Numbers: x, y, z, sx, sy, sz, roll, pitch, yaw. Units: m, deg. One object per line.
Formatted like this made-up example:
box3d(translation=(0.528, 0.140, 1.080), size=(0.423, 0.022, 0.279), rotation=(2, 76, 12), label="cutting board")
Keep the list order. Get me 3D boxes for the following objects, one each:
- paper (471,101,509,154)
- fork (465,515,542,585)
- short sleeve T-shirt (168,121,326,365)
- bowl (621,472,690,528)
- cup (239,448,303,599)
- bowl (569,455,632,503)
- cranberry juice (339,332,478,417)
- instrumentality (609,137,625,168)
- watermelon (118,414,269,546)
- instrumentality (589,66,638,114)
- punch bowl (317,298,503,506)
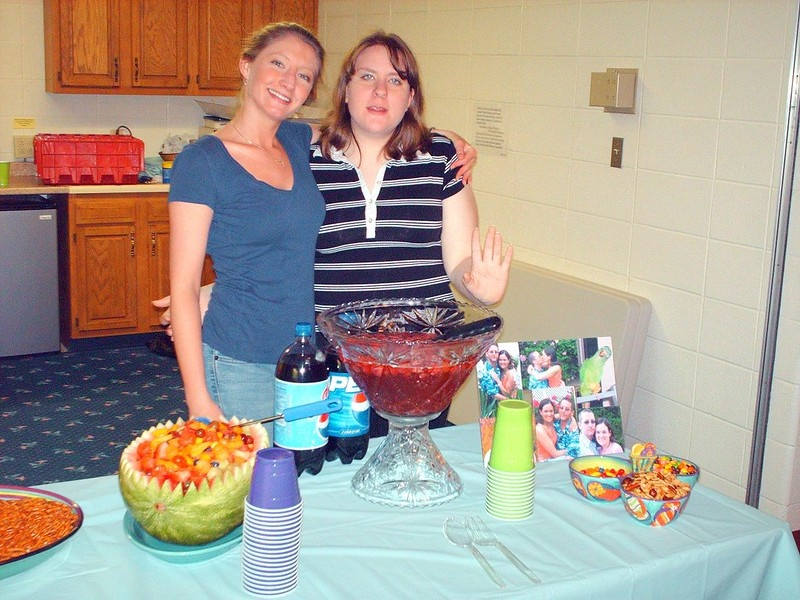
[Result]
box3d(translation=(0.601, -1.045, 3.452), size=(0.075, 0.286, 0.310), rotation=(-1, 9, -36), label="paper")
box3d(translation=(0.183, 0.430, 0.980), size=(0.036, 0.029, 0.200), rotation=(-5, 23, -16), label="fork")
box3d(translation=(-0.378, -0.176, 1.554), size=(0.273, 0.664, 0.505), rotation=(8, 11, 26), label="short sleeve T-shirt")
box3d(translation=(0.517, 0.416, 1.136), size=(0.134, 0.074, 0.132), rotation=(4, 1, 0), label="bowl")
box3d(translation=(-0.200, 0.333, 0.878), size=(0.092, 0.242, 0.132), rotation=(1, 10, -12), label="cup")
box3d(translation=(0.445, 0.414, 1.230), size=(0.125, 0.060, 0.124), rotation=(4, -6, 0), label="bowl")
box3d(translation=(0.013, 0.158, 1.071), size=(0.284, 0.194, 0.124), rotation=(4, 10, 7), label="cranberry juice")
box3d(translation=(1.086, -0.727, 2.774), size=(0.064, 0.151, 0.017), rotation=(12, 13, 41), label="instrumentality")
box3d(translation=(-0.349, 0.271, 0.964), size=(0.215, 0.145, 0.227), rotation=(2, 8, -3), label="watermelon")
box3d(translation=(1.057, -1.023, 2.720), size=(0.130, 0.234, 0.245), rotation=(-4, 12, -37), label="instrumentality")
box3d(translation=(0.015, 0.238, 1.179), size=(0.357, 0.312, 0.376), rotation=(-3, -5, 0), label="punch bowl")
